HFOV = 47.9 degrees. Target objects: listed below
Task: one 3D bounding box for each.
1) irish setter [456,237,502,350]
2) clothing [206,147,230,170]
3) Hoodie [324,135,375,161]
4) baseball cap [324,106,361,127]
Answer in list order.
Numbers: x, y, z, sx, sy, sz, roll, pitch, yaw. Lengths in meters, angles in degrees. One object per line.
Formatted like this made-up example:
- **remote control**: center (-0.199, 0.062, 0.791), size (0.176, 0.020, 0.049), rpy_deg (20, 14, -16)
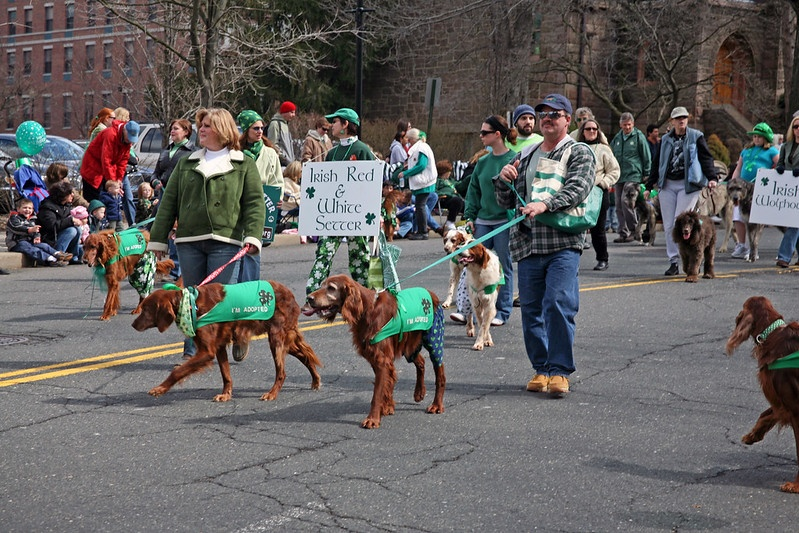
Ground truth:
- **irish setter**: center (1.042, 0.323, 11.376), size (0.517, 1.382, 0.866), rpy_deg (1, 0, 3)
- **clothing**: center (-2.048, -1.192, 10.105), size (0.348, 0.264, 0.262), rpy_deg (-1, 12, -4)
- **Hoodie**: center (-0.616, -1.461, 11.458), size (0.585, 0.488, 0.347), rpy_deg (-1, -3, 23)
- **baseball cap**: center (-0.736, -1.942, 11.558), size (0.334, 0.172, 0.230), rpy_deg (7, -1, 5)
